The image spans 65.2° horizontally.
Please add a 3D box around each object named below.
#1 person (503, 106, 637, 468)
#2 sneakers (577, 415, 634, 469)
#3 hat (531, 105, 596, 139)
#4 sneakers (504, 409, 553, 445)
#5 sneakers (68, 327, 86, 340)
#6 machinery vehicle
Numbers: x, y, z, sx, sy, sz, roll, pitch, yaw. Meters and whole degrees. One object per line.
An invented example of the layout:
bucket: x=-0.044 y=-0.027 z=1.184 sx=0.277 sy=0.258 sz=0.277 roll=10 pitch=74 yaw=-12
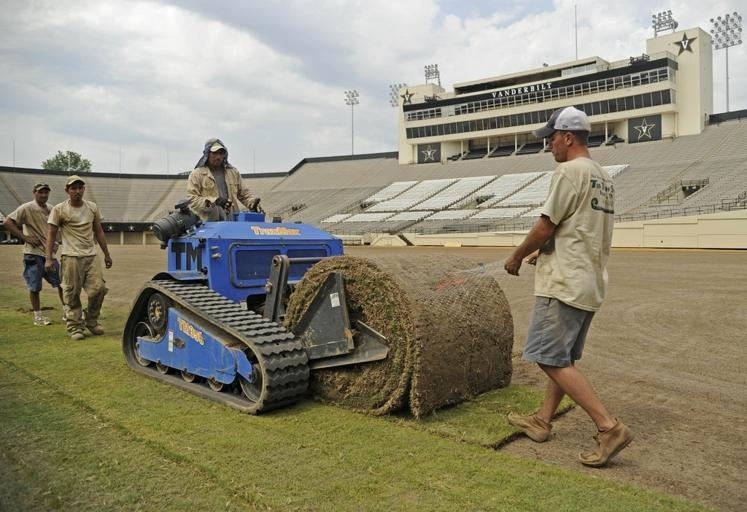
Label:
person: x=1.752 y=0.202 z=5.267 sx=1.037 sy=3.103 sz=0.938 roll=0 pitch=8 yaw=13
sneakers: x=1.980 y=1.604 z=5.078 sx=0.546 sy=0.252 sz=0.268 roll=-38 pitch=12 yaw=2
hat: x=1.768 y=-1.269 z=5.444 sx=0.502 sy=0.292 sz=0.336 roll=8 pitch=17 yaw=25
sneakers: x=1.447 y=1.564 z=5.497 sx=0.483 sy=0.223 sz=0.178 roll=28 pitch=-8 yaw=31
sneakers: x=-4.344 y=1.127 z=8.549 sx=0.197 sy=0.147 sz=0.290 roll=-6 pitch=9 yaw=-30
machinery vehicle: x=-1.236 y=0.453 z=7.394 sx=2.758 sy=1.789 sz=2.775 roll=6 pitch=8 yaw=39
